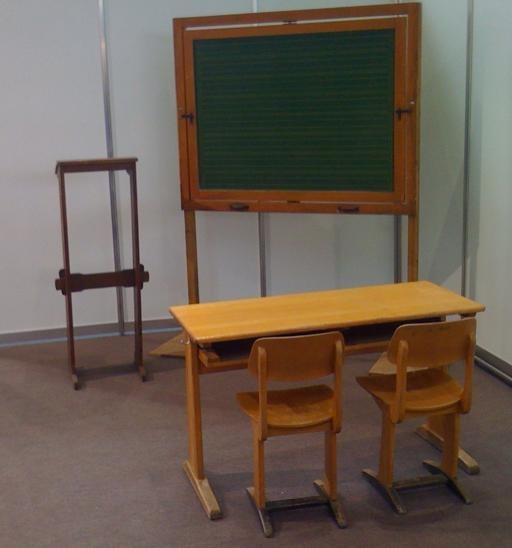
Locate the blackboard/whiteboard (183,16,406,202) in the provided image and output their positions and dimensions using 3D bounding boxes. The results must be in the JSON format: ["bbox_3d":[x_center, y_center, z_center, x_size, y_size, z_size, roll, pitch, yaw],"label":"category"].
[{"bbox_3d":[0.261,-0.980,3.139,1.005,0.838,0.142,1,12,11],"label":"blackboard/whiteboard"}]

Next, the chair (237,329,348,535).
[{"bbox_3d":[0.134,0.560,2.117,0.418,0.788,0.486,0,10,5],"label":"chair"}]

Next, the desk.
[{"bbox_3d":[0.324,0.528,2.384,1.236,0.792,0.521,-5,12,-14],"label":"desk"}]
